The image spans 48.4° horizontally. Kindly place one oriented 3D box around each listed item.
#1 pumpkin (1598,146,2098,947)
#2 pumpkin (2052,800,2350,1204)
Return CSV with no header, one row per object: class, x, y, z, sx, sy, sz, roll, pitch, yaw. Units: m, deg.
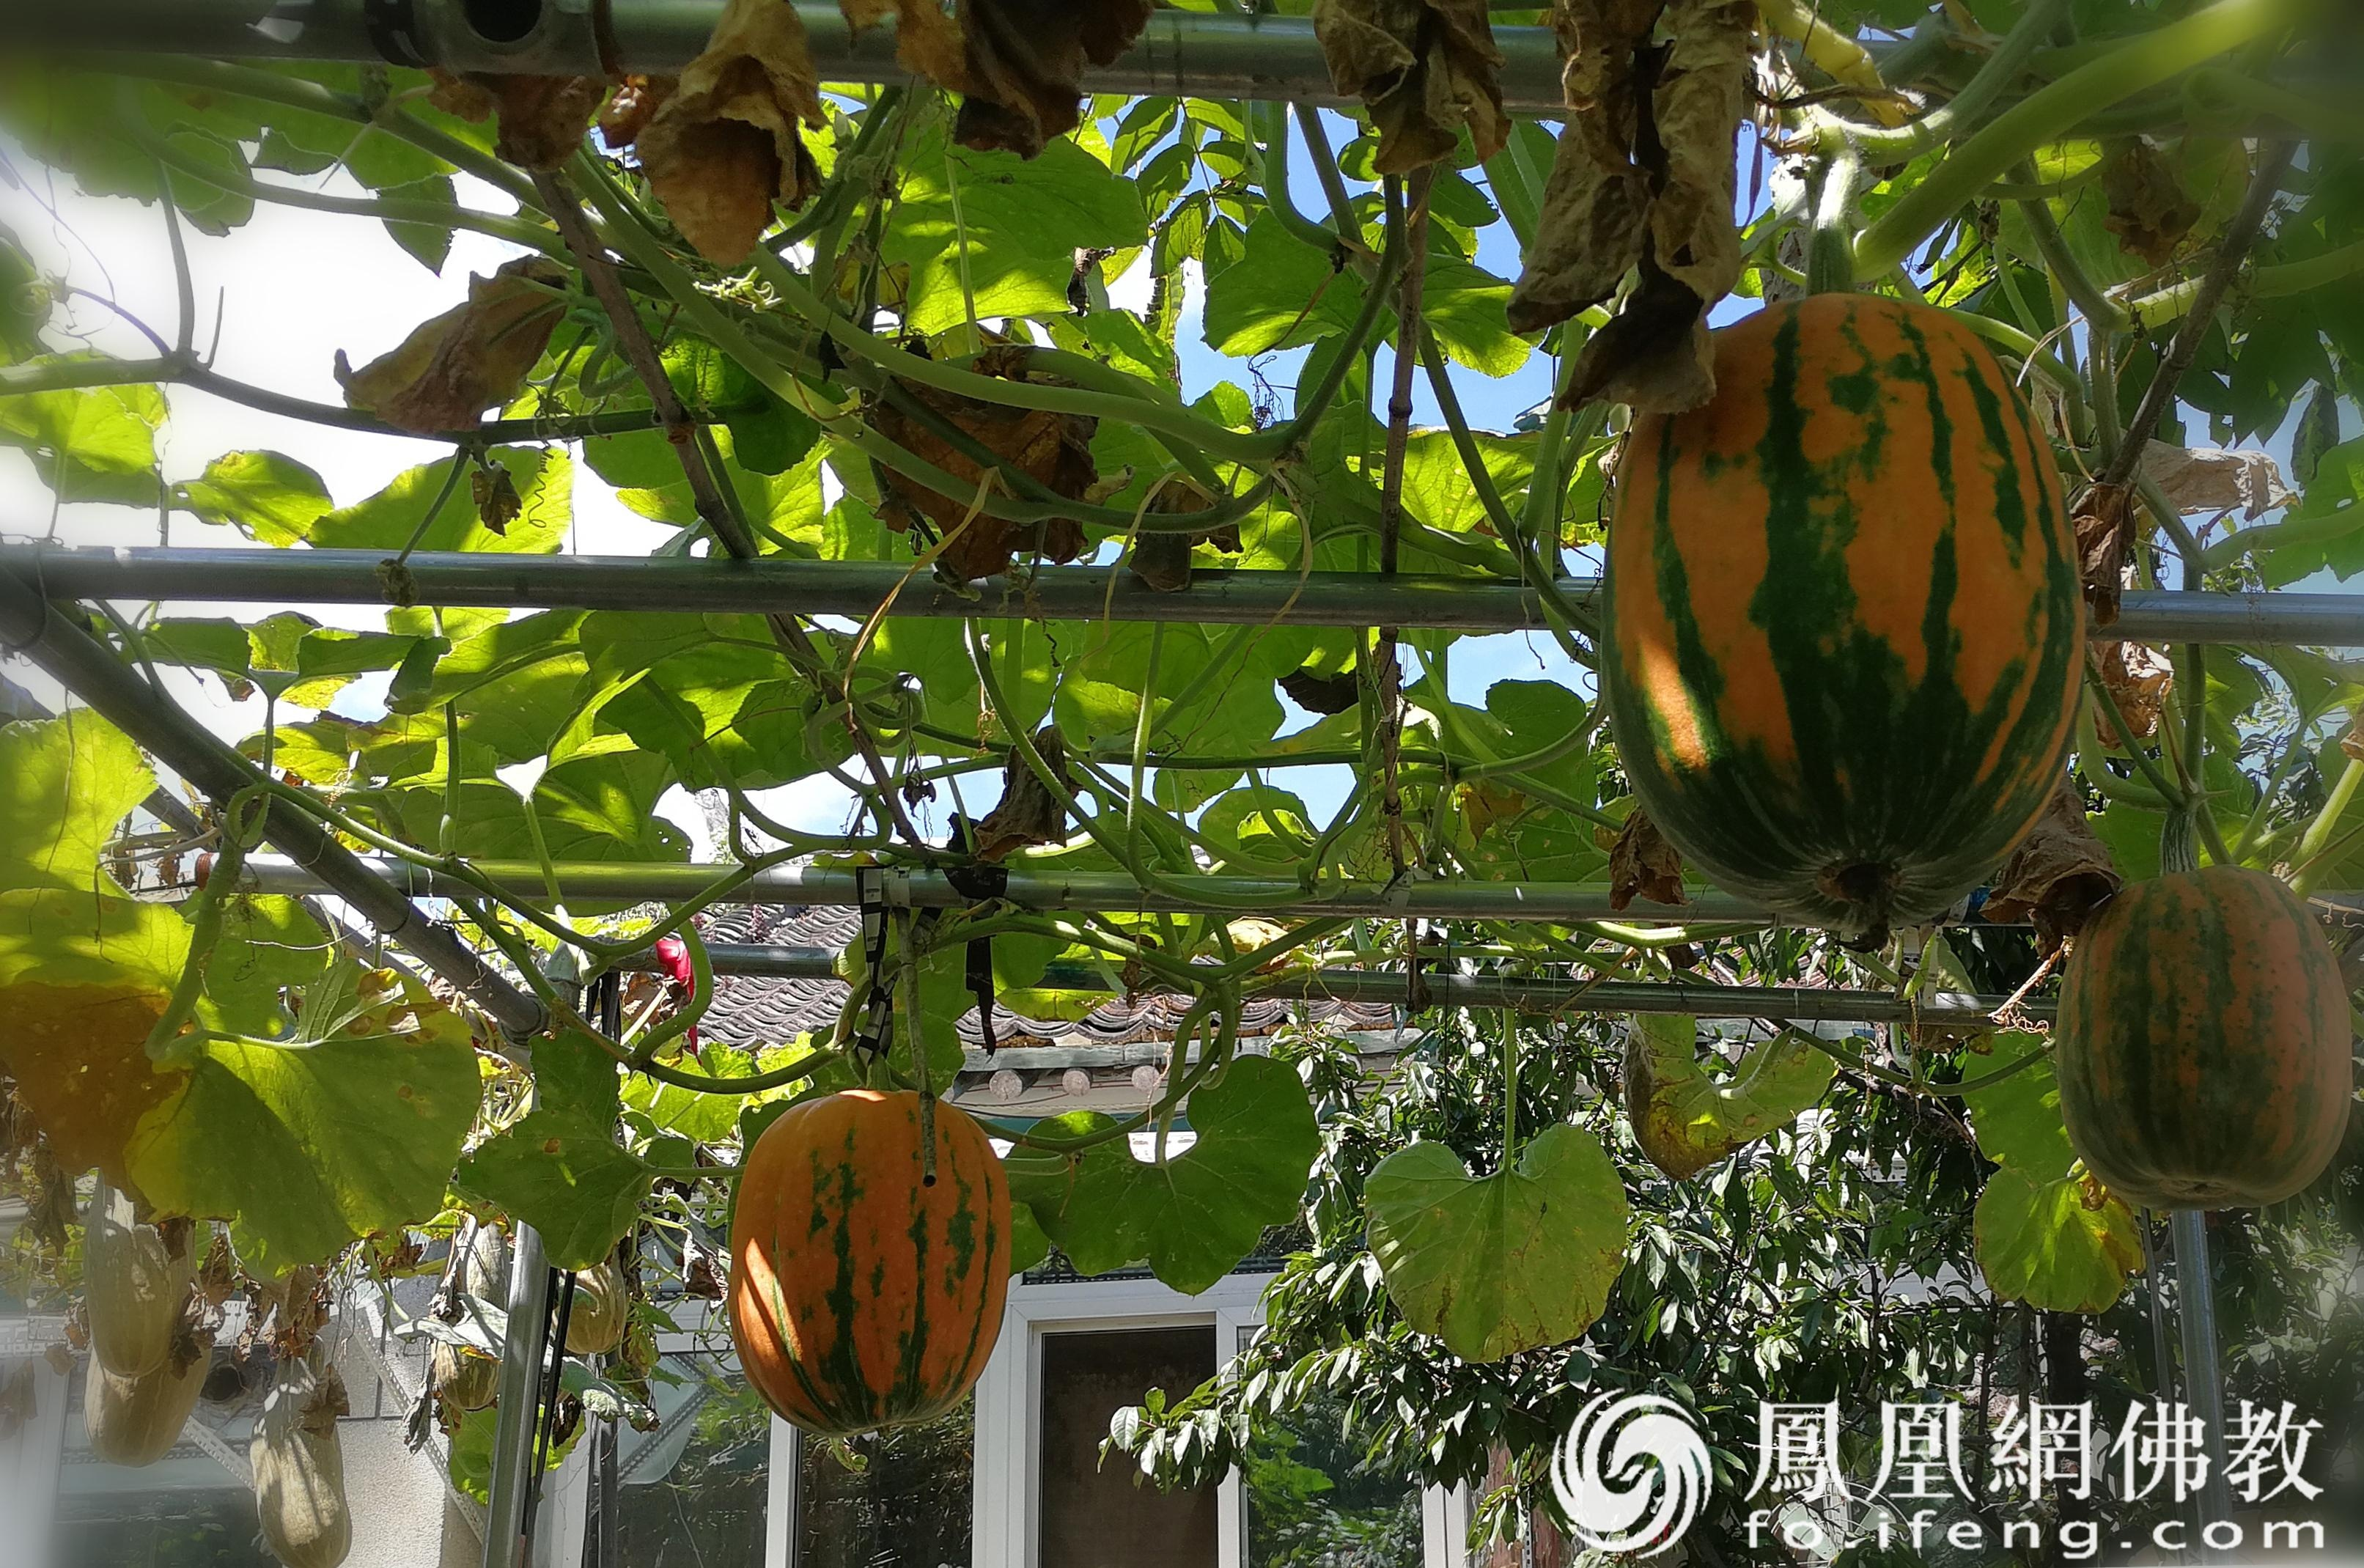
pumpkin,0.813,-0.193,3.229,0.496,0.738,0.476,6,-21,4
pumpkin,1.456,0.319,3.756,0.381,0.581,0.403,0,-22,10
